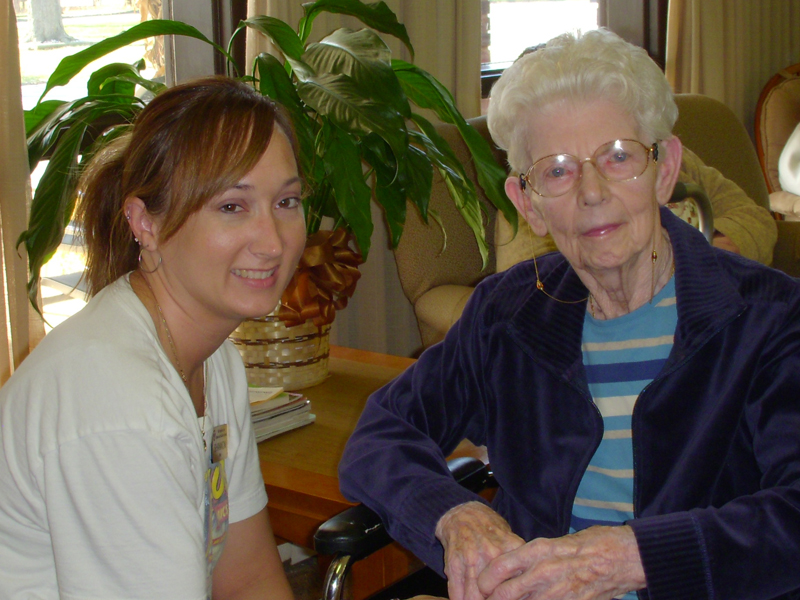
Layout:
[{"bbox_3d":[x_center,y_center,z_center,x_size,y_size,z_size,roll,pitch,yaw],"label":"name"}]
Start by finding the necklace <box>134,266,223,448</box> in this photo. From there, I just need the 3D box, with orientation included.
[{"bbox_3d":[-0.390,0.092,1.324,0.184,0.280,0.100,-1,19,35],"label":"necklace"}]

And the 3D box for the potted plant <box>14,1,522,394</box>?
[{"bbox_3d":[-0.329,-0.212,1.860,1.000,0.740,0.945,6,4,-17],"label":"potted plant"}]
